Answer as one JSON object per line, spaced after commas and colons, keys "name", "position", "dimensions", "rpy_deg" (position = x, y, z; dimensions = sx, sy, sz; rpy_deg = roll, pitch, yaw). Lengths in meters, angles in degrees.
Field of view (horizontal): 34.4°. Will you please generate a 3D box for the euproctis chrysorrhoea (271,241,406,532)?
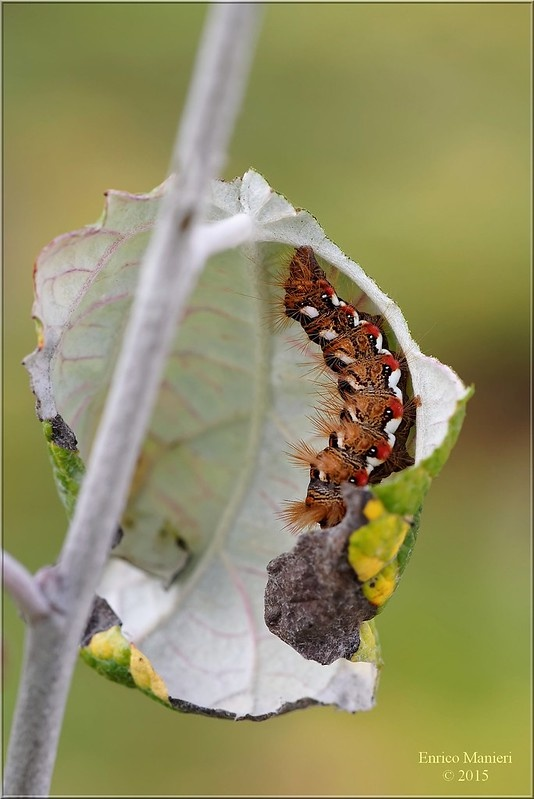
{"name": "euproctis chrysorrhoea", "position": [0.106, -0.009, 1.375], "dimensions": [0.146, 0.433, 0.307], "rpy_deg": [2, 24, -23]}
